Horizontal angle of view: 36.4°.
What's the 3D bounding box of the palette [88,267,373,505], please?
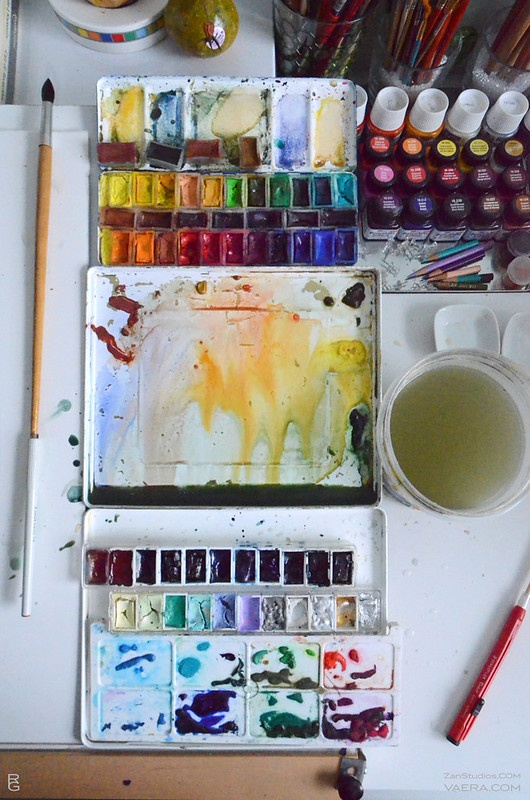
[{"bbox_3d":[-0.056,-0.023,1.369,0.494,0.088,0.397,0,78,-4],"label":"palette"}]
